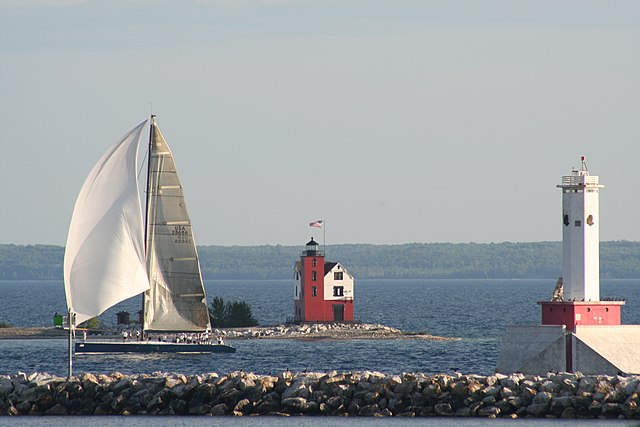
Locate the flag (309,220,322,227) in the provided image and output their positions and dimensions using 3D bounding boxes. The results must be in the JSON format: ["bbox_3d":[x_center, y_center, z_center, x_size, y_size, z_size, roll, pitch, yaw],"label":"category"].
[{"bbox_3d":[-0.311,0.732,124.108,0.868,0.958,0.088,0,-6,-24],"label":"flag"}]
